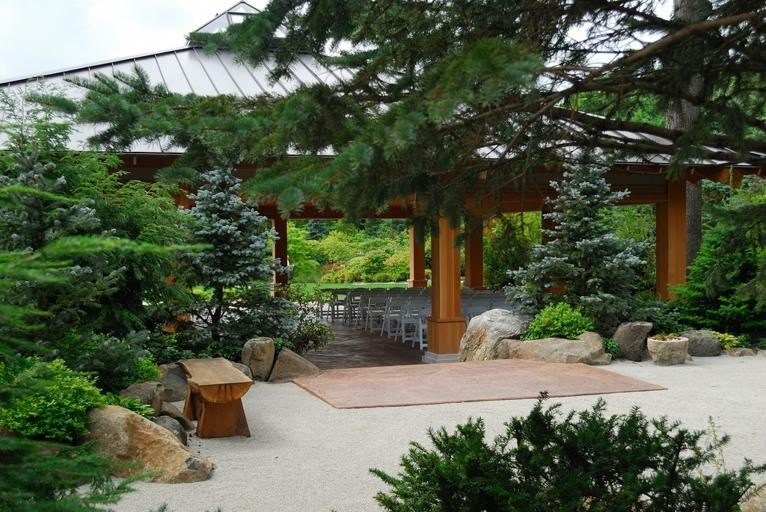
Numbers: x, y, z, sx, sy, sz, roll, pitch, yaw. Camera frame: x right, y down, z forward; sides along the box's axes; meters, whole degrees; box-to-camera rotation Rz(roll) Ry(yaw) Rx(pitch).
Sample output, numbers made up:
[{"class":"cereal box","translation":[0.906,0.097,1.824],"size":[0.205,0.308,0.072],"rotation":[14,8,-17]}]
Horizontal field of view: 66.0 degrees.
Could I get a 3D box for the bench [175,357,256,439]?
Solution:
[{"class":"bench","translation":[-1.899,1.335,6.772],"size":[0.640,0.615,1.559],"rotation":[1,0,-18]}]
